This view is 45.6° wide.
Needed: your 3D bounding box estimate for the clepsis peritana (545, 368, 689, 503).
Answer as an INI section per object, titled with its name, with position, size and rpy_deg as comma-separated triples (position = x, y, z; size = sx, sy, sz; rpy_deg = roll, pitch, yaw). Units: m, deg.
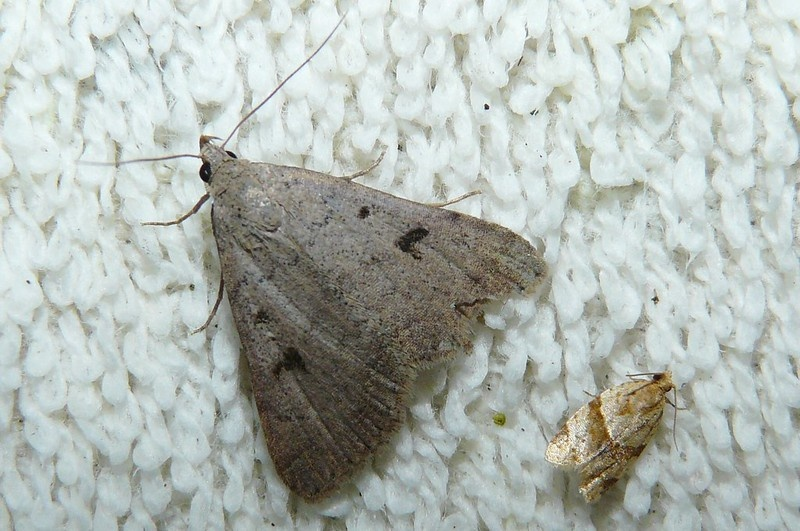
[clepsis peritana]
position = 0.272, 0.210, 1.212
size = 0.196, 0.048, 0.131
rpy_deg = -42, 86, 4
